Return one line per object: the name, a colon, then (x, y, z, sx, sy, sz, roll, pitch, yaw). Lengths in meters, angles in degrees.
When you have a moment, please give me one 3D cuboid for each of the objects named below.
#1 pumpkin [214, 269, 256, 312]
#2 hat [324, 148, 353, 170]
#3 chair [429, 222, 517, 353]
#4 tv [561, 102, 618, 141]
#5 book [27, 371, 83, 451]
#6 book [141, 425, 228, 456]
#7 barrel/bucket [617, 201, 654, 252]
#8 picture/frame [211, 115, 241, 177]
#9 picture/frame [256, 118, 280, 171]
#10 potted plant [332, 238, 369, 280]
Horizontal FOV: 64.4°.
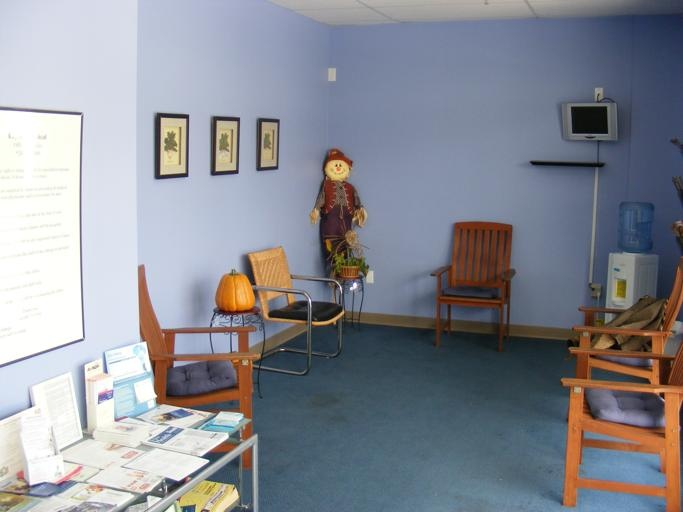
pumpkin: (-0.822, 0.259, 4.169, 0.297, 0.322, 0.305, -1, -2, 31)
hat: (-0.060, -1.100, 6.067, 0.196, 0.184, 0.284, -2, 1, 25)
chair: (1.393, 0.272, 5.697, 0.817, 1.213, 0.795, 3, 12, 13)
tv: (2.495, -1.353, 5.399, 0.365, 0.292, 0.061, 2, 9, 25)
book: (-1.169, 0.628, 2.183, 0.019, 0.299, 0.251, -12, 11, 25)
book: (-0.655, 0.770, 2.267, 0.155, 0.025, 0.179, 5, 7, 19)
barrel/bucket: (2.838, -0.274, 5.218, 0.292, 0.463, 0.233, 4, 12, 16)
picture/frame: (-0.966, -0.913, 4.440, 0.040, 0.589, 0.496, 3, 6, 23)
picture/frame: (-0.700, -1.048, 5.031, 0.042, 0.567, 0.484, 2, 6, 21)
potted plant: (0.108, 0.030, 5.926, 0.387, 0.435, 0.393, 1, 4, 26)
